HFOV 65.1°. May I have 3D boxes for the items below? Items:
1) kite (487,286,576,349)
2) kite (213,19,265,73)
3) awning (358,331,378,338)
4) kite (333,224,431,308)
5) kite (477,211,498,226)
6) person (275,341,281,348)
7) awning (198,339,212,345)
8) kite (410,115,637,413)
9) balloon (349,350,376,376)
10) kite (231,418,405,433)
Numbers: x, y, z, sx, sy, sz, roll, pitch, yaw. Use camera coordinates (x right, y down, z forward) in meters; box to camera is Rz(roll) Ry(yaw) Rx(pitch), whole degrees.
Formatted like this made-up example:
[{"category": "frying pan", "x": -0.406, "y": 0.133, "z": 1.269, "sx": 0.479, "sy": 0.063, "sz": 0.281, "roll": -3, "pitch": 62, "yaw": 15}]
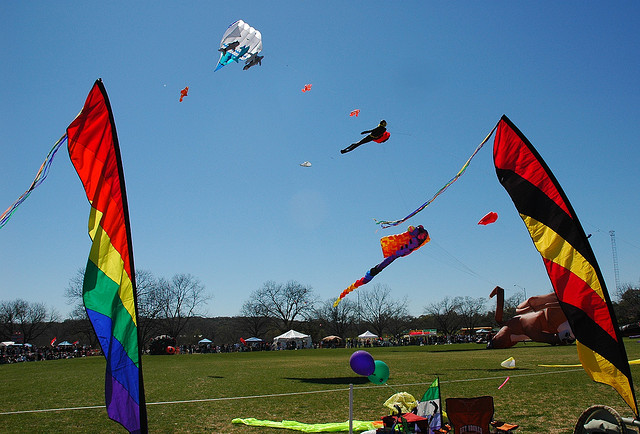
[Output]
[{"category": "kite", "x": 18.321, "y": 8.907, "z": 42.916, "sx": 5.581, "sy": 4.131, "sz": 2.478, "roll": -10, "pitch": -17, "yaw": 25}, {"category": "kite", "x": -3.321, "y": -6.887, "z": 21.104, "sx": 1.592, "sy": 1.621, "sz": 1.405, "roll": 1, "pitch": -16, "yaw": -11}, {"category": "awning", "x": 6.818, "y": 16.349, "z": 71.094, "sx": 1.790, "sy": 0.806, "sz": 1.865, "roll": 5, "pitch": -36, "yaw": -5}, {"category": "kite", "x": 3.396, "y": 1.670, "z": 22.773, "sx": 5.868, "sy": 1.593, "sz": 1.788, "roll": -37, "pitch": -53, "yaw": -11}, {"category": "kite", "x": 7.082, "y": 0.180, "z": 20.931, "sx": 0.750, "sy": 0.197, "sz": 0.451, "roll": -36, "pitch": -61, "yaw": 21}, {"category": "person", "x": -5.769, "y": 17.334, "z": 68.878, "sx": 0.631, "sy": 0.957, "sz": 0.283, "roll": -1, "pitch": -4, "yaw": 4}, {"category": "awning", "x": -16.259, "y": 17.352, "z": 70.621, "sx": 1.725, "sy": 0.895, "sz": 1.713, "roll": 11, "pitch": -21, "yaw": -33}, {"category": "kite", "x": 6.583, "y": 0.997, "z": 13.442, "sx": 2.634, "sy": 7.721, "sz": 0.925, "roll": 1, "pitch": -16, "yaw": -8}, {"category": "balloon", "x": 1.321, "y": 4.375, "z": 15.173, "sx": 0.728, "sy": 0.708, "sz": 0.459, "roll": -4, "pitch": -16, "yaw": 6}, {"category": "kite", "x": -0.480, "y": 6.380, "z": 15.709, "sx": 4.885, "sy": 0.383, "sz": 1.081, "roll": -5, "pitch": -16, "yaw": 9}]
